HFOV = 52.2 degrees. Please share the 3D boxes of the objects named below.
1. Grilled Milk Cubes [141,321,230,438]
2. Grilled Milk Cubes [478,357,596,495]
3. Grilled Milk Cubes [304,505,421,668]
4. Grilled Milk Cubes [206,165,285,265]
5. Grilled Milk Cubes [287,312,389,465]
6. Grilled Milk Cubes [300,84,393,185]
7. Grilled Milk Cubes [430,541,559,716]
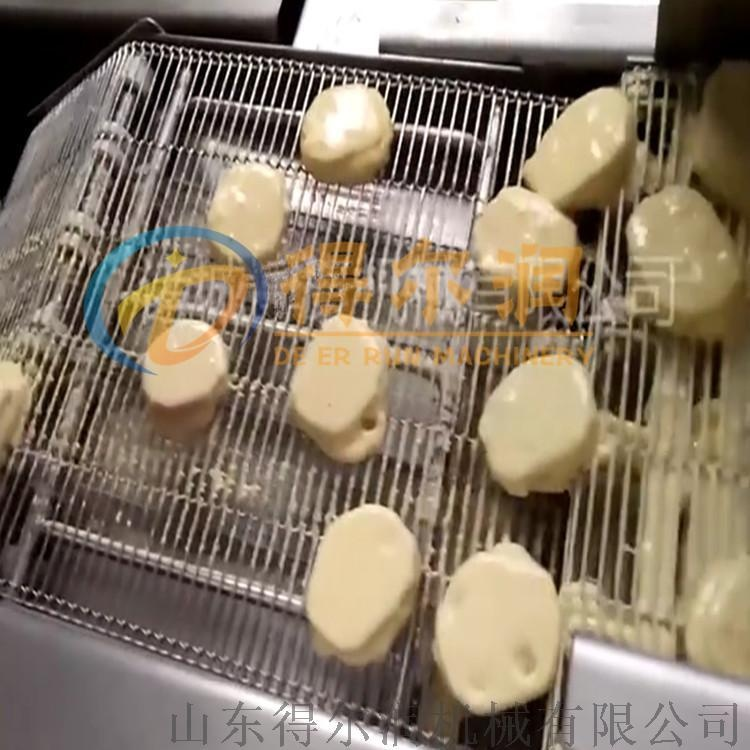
[{"bbox_3d":[-0.200,0.014,0.825,0.067,0.084,0.127,-5,42,-8],"label":"Grilled Milk Cubes"},{"bbox_3d":[0.164,0.002,0.745,0.038,0.147,0.161,-1,103,-18],"label":"Grilled Milk Cubes"},{"bbox_3d":[-0.011,0.191,0.707,0.097,0.033,0.131,23,69,7],"label":"Grilled Milk Cubes"},{"bbox_3d":[-0.139,-0.184,0.853,0.060,0.028,0.136,6,79,8],"label":"Grilled Milk Cubes"},{"bbox_3d":[-0.041,0.017,0.793,0.083,0.059,0.176,-2,46,-1],"label":"Grilled Milk Cubes"},{"bbox_3d":[-0.032,-0.274,0.874,0.107,0.049,0.104,5,66,0],"label":"Grilled Milk Cubes"},{"bbox_3d":[0.107,0.228,0.668,0.077,0.038,0.158,8,76,26],"label":"Grilled Milk Cubes"}]
